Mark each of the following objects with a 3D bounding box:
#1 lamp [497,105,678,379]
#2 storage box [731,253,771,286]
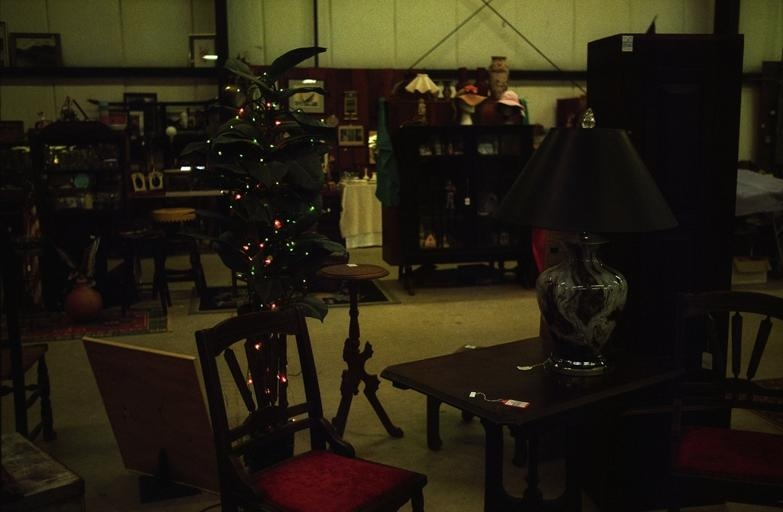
[{"bbox_3d":[1.048,-0.136,4.409,1.183,1.777,1.194,-4,10,-20],"label":"lamp"},{"bbox_3d":[4.319,0.171,8.410,0.541,0.389,0.375,0,-1,4],"label":"storage box"}]
